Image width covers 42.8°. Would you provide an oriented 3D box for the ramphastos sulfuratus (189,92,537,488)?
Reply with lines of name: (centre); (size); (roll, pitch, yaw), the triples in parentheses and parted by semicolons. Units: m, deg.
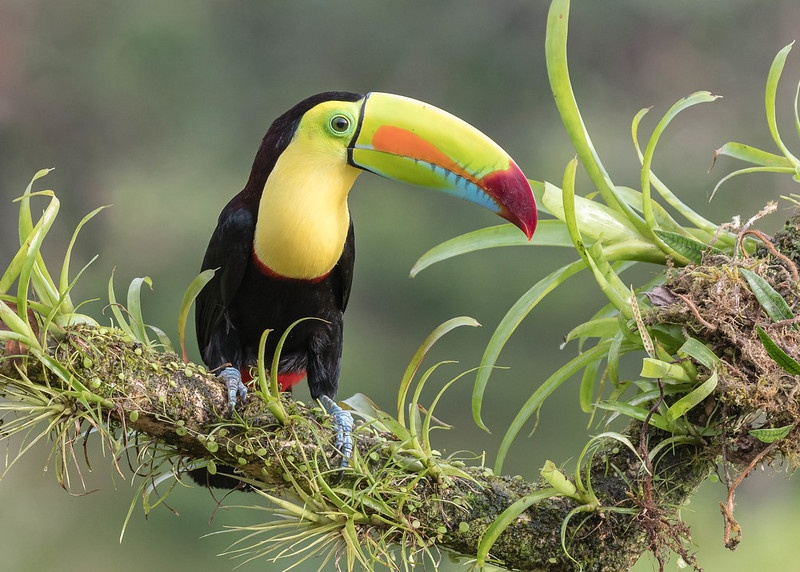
ramphastos sulfuratus: (-0.096, -0.047, 2.290); (0.946, 0.862, 0.338); (-11, -14, 30)
